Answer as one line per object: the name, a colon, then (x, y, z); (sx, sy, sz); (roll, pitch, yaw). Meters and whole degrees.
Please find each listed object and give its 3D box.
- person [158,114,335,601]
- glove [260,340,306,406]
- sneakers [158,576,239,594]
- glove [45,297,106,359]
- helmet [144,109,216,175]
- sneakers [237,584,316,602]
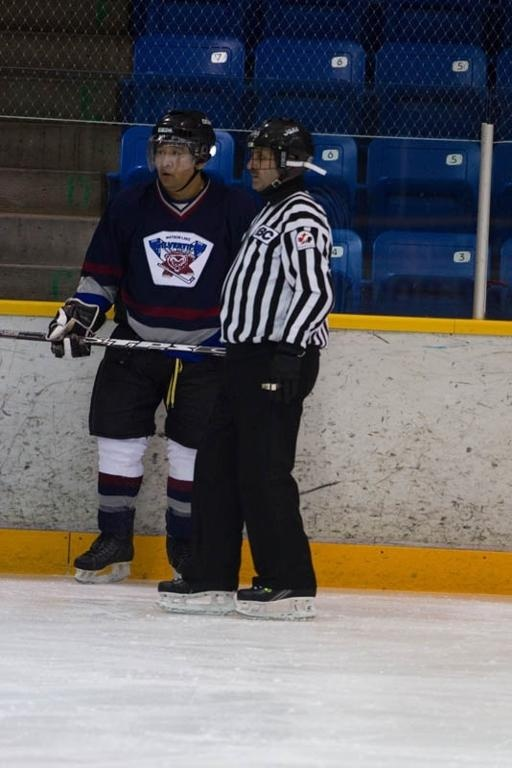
person: (0.000, -0.062, 2.191); (0.412, 1.341, 0.305); (5, 4, 4)
glove: (0.069, -0.015, 2.057); (0.120, 0.133, 0.038); (18, -7, -10)
sneakers: (-0.152, 0.531, 2.187); (0.202, 0.071, 0.064); (5, -14, -2)
glove: (-0.549, -0.172, 2.469); (0.144, 0.172, 0.083); (3, 4, -12)
helmet: (-0.193, -0.723, 2.454); (0.156, 0.162, 0.194); (11, 8, 39)
sneakers: (0.049, 0.526, 2.128); (0.205, 0.071, 0.064); (2, -9, -4)
